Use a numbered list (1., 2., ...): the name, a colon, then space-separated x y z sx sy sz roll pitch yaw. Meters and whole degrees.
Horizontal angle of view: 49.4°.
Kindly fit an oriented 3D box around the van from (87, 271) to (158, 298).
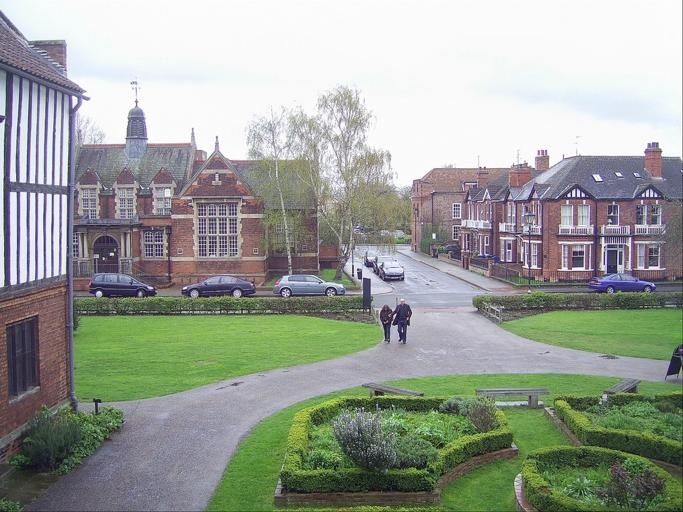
1. van: -13.176 1.866 45.055 3.748 1.469 1.742 -1 0 -4
